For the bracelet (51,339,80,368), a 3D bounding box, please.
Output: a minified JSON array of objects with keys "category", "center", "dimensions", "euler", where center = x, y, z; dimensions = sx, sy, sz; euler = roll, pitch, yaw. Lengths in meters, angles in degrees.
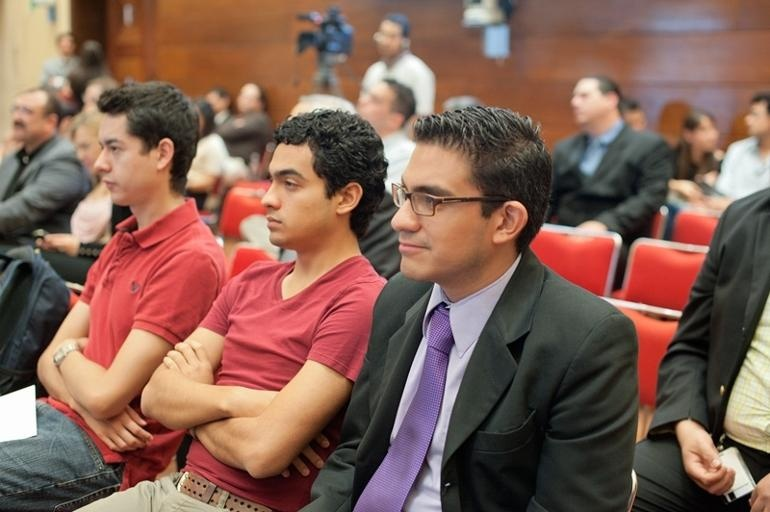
[{"category":"bracelet","center":[-1.268,0.396,2.745],"dimensions":[0.043,0.061,0.066],"euler":[39,40,5]}]
